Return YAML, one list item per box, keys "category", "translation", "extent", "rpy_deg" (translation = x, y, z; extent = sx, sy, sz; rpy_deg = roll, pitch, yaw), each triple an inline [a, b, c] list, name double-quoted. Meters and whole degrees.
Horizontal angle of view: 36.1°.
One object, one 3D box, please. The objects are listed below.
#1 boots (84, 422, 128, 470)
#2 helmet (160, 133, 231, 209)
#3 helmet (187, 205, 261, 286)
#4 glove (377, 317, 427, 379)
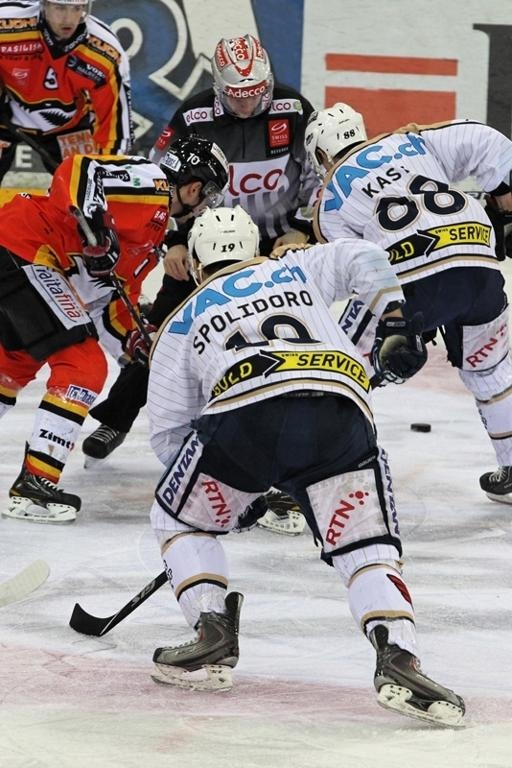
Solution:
- category: "boots"
  translation: [-0.665, 0.277, 3.481]
  extent: [0.108, 0.310, 0.127]
  rpy_deg: [29, 70, 1]
- category: "helmet"
  translation: [-0.254, -0.866, 3.223]
  extent: [0.309, 0.277, 0.218]
  rpy_deg: [-10, 62, -28]
- category: "helmet"
  translation: [-0.093, -0.324, 1.954]
  extent: [0.170, 0.194, 0.192]
  rpy_deg: [-3, 54, -7]
- category: "glove"
  translation: [0.289, -0.065, 1.560]
  extent: [0.099, 0.059, 0.118]
  rpy_deg: [-10, 63, 19]
